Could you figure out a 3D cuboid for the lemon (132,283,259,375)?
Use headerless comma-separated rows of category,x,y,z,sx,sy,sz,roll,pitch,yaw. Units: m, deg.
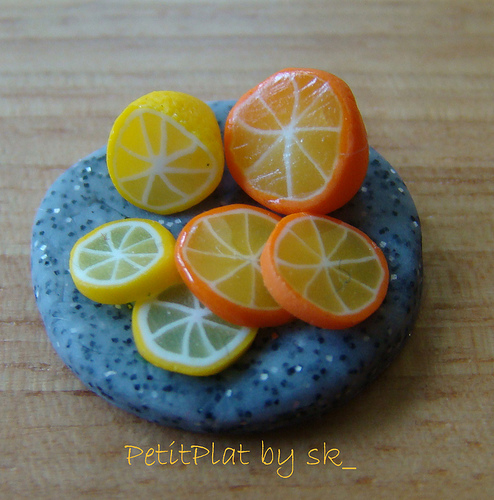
lemon,-0.105,0.133,1.171,0.189,0.055,0.142,35,79,7

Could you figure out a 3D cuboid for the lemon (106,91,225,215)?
lemon,-0.150,-0.169,1.281,0.199,0.102,0.188,-27,79,-6

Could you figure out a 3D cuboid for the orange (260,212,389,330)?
orange,0.126,0.031,1.164,0.208,0.082,0.185,17,78,3
